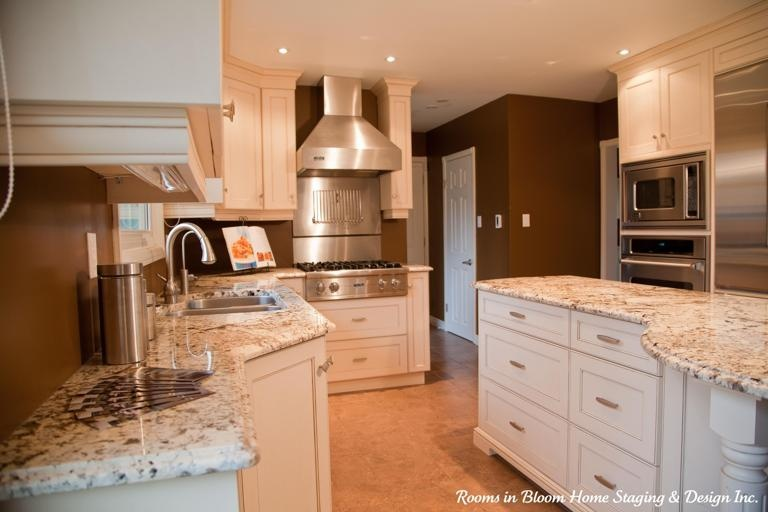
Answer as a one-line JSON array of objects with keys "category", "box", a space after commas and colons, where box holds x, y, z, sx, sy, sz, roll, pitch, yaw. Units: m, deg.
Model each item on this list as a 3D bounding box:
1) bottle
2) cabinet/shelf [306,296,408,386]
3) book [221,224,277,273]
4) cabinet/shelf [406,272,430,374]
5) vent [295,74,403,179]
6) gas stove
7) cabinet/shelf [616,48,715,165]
[{"category": "bottle", "box": [-0.884, 0.194, 1.807, 0.152, 0.323, 0.154, -2, 2, 0]}, {"category": "cabinet/shelf", "box": [-0.117, 0.710, 4.436, 0.844, 0.668, 0.438, -7, -14, 20]}, {"category": "book", "box": [-1.030, -0.058, 4.044, 0.066, 0.340, 0.513, -15, -5, 22]}, {"category": "cabinet/shelf", "box": [0.284, 0.529, 4.355, 0.158, 0.783, 0.259, 0, 12, 11]}, {"category": "vent", "box": [-0.407, -1.136, 4.612, 1.071, 0.719, 1.132, 8, 13, 32]}, {"category": "gas stove", "box": [-0.221, 0.218, 4.221, 0.840, 0.263, 0.160, -5, 12, -15]}, {"category": "cabinet/shelf", "box": [2.270, -1.138, 4.149, 0.337, 0.720, 0.851, -5, 3, -23]}]
